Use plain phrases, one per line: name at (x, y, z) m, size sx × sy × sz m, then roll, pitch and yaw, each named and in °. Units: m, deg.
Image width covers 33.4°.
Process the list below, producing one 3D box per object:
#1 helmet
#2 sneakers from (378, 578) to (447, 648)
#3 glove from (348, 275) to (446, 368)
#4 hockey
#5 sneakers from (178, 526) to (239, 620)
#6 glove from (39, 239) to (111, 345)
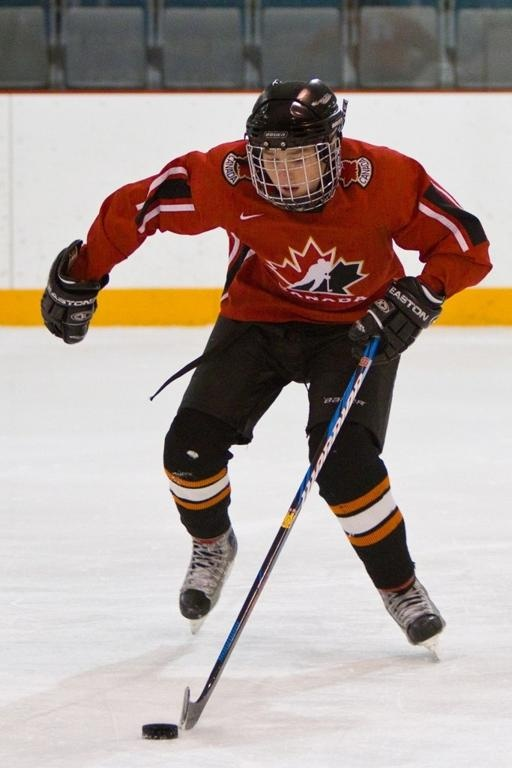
helmet at (0.072, -0.465, 1.528) m, size 0.173 × 0.162 × 0.178 m, roll 8°, pitch 34°, yaw 14°
sneakers at (0.268, 0.396, 1.512) m, size 0.053 × 0.061 × 0.157 m, roll -36°, pitch 20°, yaw 3°
glove at (0.239, -0.113, 1.511) m, size 0.115 × 0.183 × 0.072 m, roll 48°, pitch 0°, yaw 8°
hockey at (0.048, 0.276, 1.560) m, size 0.060 × 0.107 × 0.723 m, roll 36°, pitch 69°, yaw -2°
sneakers at (-0.095, 0.368, 1.668) m, size 0.064 × 0.080 × 0.188 m, roll 5°, pitch 40°, yaw 16°
glove at (-0.367, -0.177, 1.761) m, size 0.122 × 0.193 × 0.148 m, roll 9°, pitch 50°, yaw -10°
